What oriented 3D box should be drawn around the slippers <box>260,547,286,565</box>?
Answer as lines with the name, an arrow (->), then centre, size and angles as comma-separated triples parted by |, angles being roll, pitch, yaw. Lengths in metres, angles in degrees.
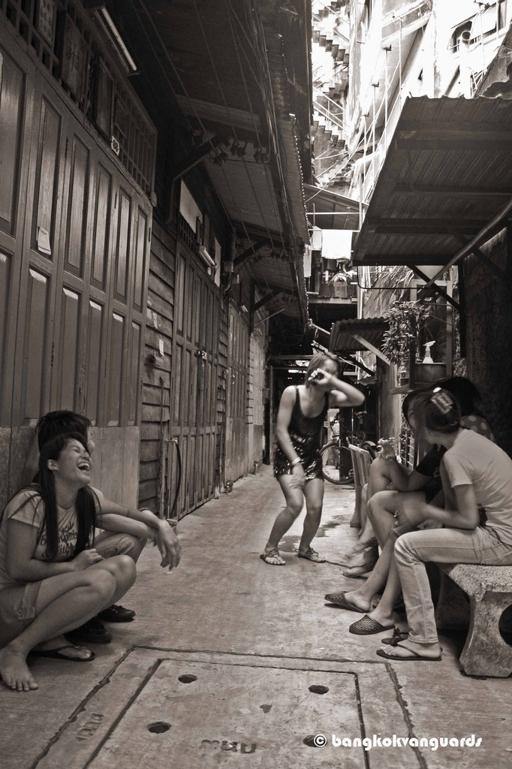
slippers -> 0.099, 1.451, 4.646 | 0.318, 0.104, 0.162 | -5, -7, 39

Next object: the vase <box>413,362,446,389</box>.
vase -> 1.897, -0.102, 6.170 | 0.401, 0.387, 0.466 | 1, -2, 9

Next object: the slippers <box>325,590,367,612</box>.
slippers -> 0.550, 1.331, 3.466 | 0.193, 0.088, 0.105 | 3, -3, 33

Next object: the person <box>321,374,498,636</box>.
person -> 1.006, 0.739, 3.484 | 0.779, 1.589, 0.517 | 8, -10, 5

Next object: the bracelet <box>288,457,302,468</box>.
bracelet -> 0.336, 0.659, 4.712 | 0.080, 0.035, 0.068 | -38, 9, -14

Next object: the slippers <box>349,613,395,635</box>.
slippers -> 0.629, 1.280, 3.015 | 0.245, 0.096, 0.107 | 4, -6, -19

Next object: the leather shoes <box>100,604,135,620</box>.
leather shoes -> -0.776, 1.267, 3.071 | 0.190, 0.107, 0.080 | 2, 1, -2

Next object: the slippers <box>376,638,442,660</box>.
slippers -> 0.739, 1.271, 2.627 | 0.182, 0.080, 0.146 | 1, -13, 10

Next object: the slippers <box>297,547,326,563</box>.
slippers -> 0.473, 1.499, 4.826 | 0.207, 0.116, 0.097 | 2, 0, 26

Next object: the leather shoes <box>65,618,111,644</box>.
leather shoes -> -0.820, 1.189, 2.709 | 0.251, 0.132, 0.093 | -8, -6, 23
